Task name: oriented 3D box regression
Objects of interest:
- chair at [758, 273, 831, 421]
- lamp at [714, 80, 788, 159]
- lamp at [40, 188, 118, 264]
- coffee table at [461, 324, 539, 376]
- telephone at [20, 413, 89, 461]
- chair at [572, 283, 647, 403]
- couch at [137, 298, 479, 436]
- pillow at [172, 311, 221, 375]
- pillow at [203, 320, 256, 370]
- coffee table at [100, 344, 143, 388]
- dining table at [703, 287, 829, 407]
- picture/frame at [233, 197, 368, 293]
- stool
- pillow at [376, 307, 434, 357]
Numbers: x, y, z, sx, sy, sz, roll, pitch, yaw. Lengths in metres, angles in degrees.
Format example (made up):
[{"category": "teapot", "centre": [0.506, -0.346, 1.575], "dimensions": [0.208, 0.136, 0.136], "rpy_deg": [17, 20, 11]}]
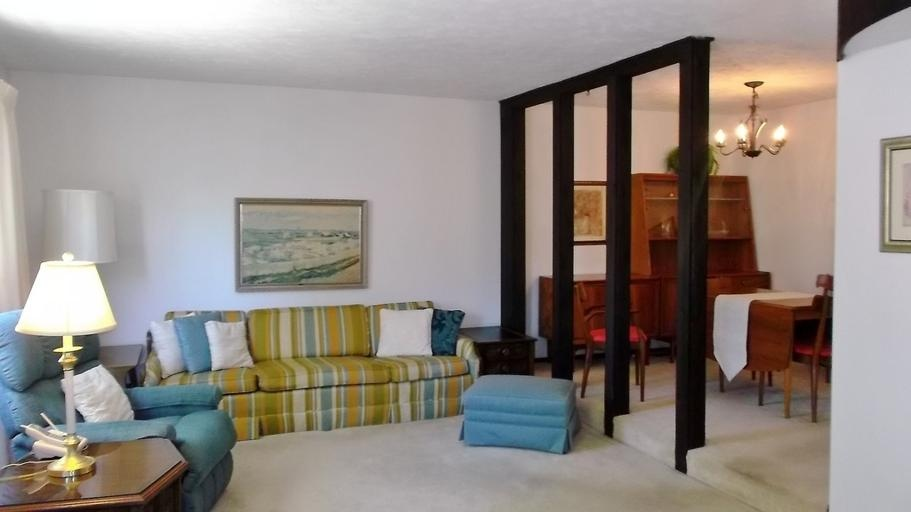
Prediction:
[{"category": "chair", "centre": [3.507, 0.900, 6.375], "dimensions": [0.741, 1.403, 1.120], "rpy_deg": [-2, 2, 29]}, {"category": "lamp", "centre": [3.528, -1.588, 7.129], "dimensions": [0.870, 0.808, 0.733], "rpy_deg": [-9, 9, -27]}, {"category": "lamp", "centre": [-3.829, -0.286, 6.235], "dimensions": [0.981, 0.651, 0.900], "rpy_deg": [0, -1, -15]}, {"category": "coffee table", "centre": [0.498, 1.101, 7.087], "dimensions": [0.489, 0.417, 0.745], "rpy_deg": [-1, 0, -20]}, {"category": "telephone", "centre": [-2.903, 1.279, 4.491], "dimensions": [0.376, 0.219, 0.394], "rpy_deg": [0, 13, -34]}, {"category": "chair", "centre": [1.761, 0.932, 6.814], "dimensions": [0.951, 1.081, 0.886], "rpy_deg": [3, -3, -6]}, {"category": "couch", "centre": [-1.491, 1.180, 6.637], "dimensions": [3.447, 1.016, 1.003], "rpy_deg": [-2, 12, -18]}, {"category": "pillow", "centre": [-2.627, 0.887, 6.209], "dimensions": [0.166, 0.496, 0.542], "rpy_deg": [-18, -1, 21]}, {"category": "pillow", "centre": [-2.350, 0.928, 6.318], "dimensions": [0.509, 0.465, 0.183], "rpy_deg": [-6, -18, -39]}, {"category": "coffee table", "centre": [-3.425, 1.100, 6.256], "dimensions": [0.457, 0.236, 0.416], "rpy_deg": [1, 2, -30]}, {"category": "dining table", "centre": [3.297, 0.787, 6.574], "dimensions": [1.099, 1.163, 1.339], "rpy_deg": [-2, 3, -22]}, {"category": "picture/frame", "centre": [-1.847, -0.147, 7.019], "dimensions": [1.320, 0.792, 0.054], "rpy_deg": [0, -1, -18]}, {"category": "stool", "centre": [0.782, 1.600, 6.191], "dimensions": [1.120, 0.484, 0.906], "rpy_deg": [-5, -5, 34]}, {"category": "pillow", "centre": [-0.600, 0.836, 6.908], "dimensions": [0.747, 0.582, 0.261], "rpy_deg": [6, -12, -28]}]
